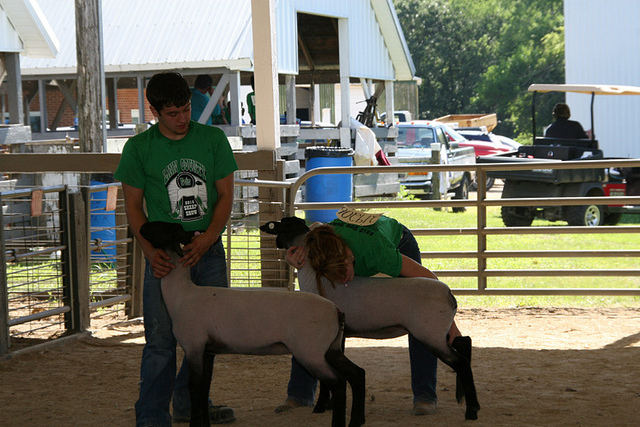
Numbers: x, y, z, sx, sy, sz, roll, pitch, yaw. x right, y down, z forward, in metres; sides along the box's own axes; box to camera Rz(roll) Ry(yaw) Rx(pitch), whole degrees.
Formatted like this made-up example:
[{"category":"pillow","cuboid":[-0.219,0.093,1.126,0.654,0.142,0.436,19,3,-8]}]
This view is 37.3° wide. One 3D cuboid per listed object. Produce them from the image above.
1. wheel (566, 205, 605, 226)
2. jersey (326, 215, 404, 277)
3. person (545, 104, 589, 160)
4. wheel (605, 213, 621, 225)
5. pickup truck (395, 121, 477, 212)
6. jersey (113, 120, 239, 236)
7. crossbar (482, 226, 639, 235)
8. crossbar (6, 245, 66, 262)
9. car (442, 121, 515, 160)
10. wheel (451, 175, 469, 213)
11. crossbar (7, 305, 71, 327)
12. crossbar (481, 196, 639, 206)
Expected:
[{"category":"wheel","cuboid":[4.744,0.021,17.065,0.492,0.445,1.072,3,8,29]},{"category":"jersey","cuboid":[0.446,0.210,9.946,0.481,0.821,1.400,-1,0,-20]},{"category":"person","cuboid":[4.715,-1.750,18.087,0.821,0.615,0.417,4,8,33]},{"category":"wheel","cuboid":[5.577,0.103,18.051,0.210,0.221,0.084,1,-2,0]},{"category":"pickup truck","cuboid":[2.521,-1.170,22.928,2.023,1.890,3.894,1,5,22]},{"category":"jersey","cuboid":[-1.512,-0.424,9.988,1.303,1.156,0.667,-5,28,-15]},{"category":"crossbar","cuboid":[3.194,0.219,12.561,2.035,0.113,0.214,1,7,8]},{"category":"crossbar","cuboid":[-3.651,0.507,12.181,0.733,0.102,0.117,-21,24,-20]},{"category":"car","cuboid":[4.208,-1.941,26.832,2.261,0.984,1.168,0,2,-15]},{"category":"wheel","cuboid":[2.953,-0.438,19.929,0.264,0.785,0.771,1,6,16]},{"category":"crossbar","cuboid":[-3.466,1.234,11.610,0.837,0.165,0.277,-6,9,-40]},{"category":"crossbar","cuboid":[3.191,-0.160,12.583,2.049,0.142,0.625,1,7,9]}]
